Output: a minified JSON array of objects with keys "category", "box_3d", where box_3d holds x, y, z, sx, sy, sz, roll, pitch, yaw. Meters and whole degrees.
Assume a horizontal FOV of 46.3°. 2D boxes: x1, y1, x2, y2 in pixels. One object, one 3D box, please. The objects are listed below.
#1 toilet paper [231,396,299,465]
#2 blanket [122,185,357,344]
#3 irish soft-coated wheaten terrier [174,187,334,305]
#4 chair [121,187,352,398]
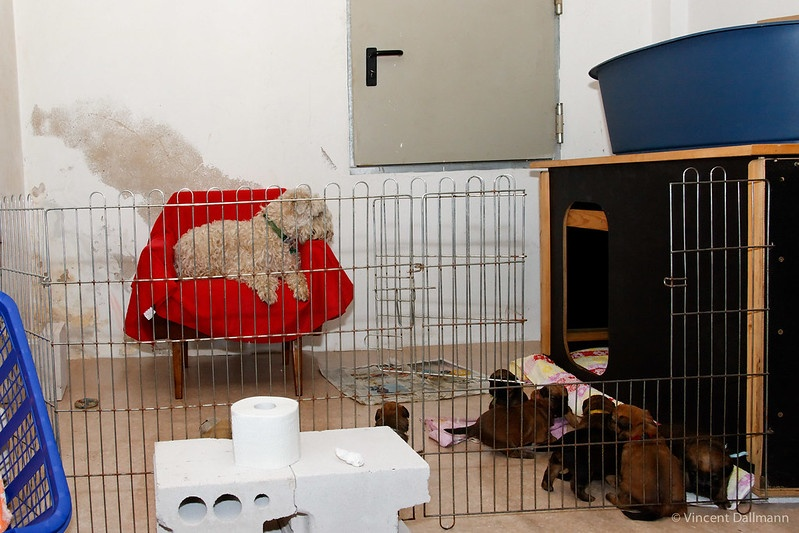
[{"category":"toilet paper","box_3d":[-0.490,0.606,3.442,0.222,0.178,0.230,4,13,17]},{"category":"blanket","box_3d":[-0.811,0.120,4.604,1.293,0.933,0.769,2,-5,-6]},{"category":"irish soft-coated wheaten terrier","box_3d":[-0.761,-0.120,4.757,0.805,0.603,0.434,6,0,7]},{"category":"chair","box_3d":[-0.853,0.122,4.800,1.002,0.928,0.798,-11,24,-18]}]
